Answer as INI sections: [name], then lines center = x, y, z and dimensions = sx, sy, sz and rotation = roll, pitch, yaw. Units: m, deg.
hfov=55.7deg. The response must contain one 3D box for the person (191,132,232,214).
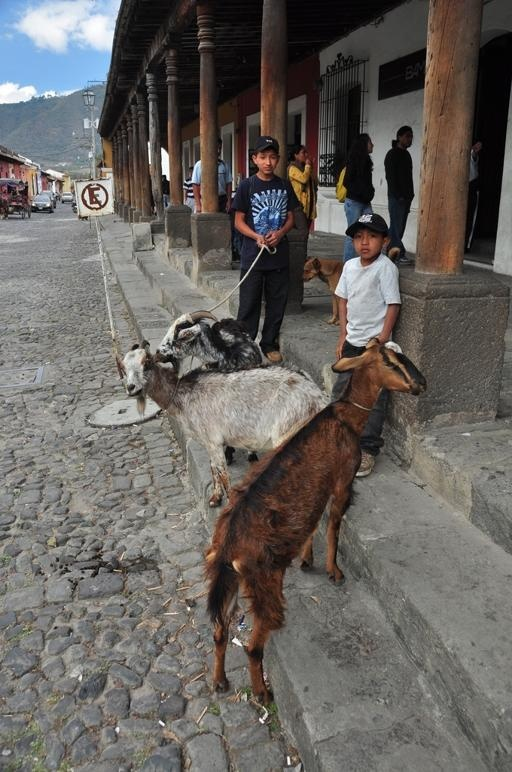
[person]
center = -0.813, -3.622, 9.366
dimensions = 0.824, 2.101, 0.445
rotation = 0, 1, -7

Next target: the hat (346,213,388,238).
[hat]
center = 0.599, -0.865, 2.635
dimensions = 0.209, 0.141, 0.231
rotation = -1, 11, 14

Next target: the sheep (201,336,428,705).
[sheep]
center = 0.182, 0.473, 1.659
dimensions = 0.800, 1.163, 0.421
rotation = -12, 13, -38

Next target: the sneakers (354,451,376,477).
[sneakers]
center = 0.605, 0.405, 2.622
dimensions = 0.119, 0.142, 0.329
rotation = 1, 1, 18
